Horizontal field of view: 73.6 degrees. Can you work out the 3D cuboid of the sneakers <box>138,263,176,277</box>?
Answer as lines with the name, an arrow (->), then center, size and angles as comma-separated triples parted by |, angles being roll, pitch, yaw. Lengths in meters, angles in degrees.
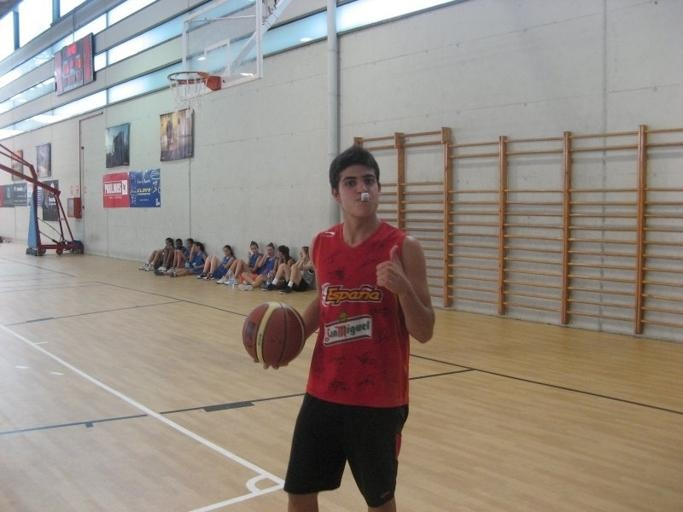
sneakers -> -4.023, 0.309, 9.981 | 0.491, 0.226, 0.169 | 12, -10, -27

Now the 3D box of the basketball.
basketball -> -0.245, 0.266, 1.751 | 0.223, 0.278, 0.222 | 4, -1, -37
